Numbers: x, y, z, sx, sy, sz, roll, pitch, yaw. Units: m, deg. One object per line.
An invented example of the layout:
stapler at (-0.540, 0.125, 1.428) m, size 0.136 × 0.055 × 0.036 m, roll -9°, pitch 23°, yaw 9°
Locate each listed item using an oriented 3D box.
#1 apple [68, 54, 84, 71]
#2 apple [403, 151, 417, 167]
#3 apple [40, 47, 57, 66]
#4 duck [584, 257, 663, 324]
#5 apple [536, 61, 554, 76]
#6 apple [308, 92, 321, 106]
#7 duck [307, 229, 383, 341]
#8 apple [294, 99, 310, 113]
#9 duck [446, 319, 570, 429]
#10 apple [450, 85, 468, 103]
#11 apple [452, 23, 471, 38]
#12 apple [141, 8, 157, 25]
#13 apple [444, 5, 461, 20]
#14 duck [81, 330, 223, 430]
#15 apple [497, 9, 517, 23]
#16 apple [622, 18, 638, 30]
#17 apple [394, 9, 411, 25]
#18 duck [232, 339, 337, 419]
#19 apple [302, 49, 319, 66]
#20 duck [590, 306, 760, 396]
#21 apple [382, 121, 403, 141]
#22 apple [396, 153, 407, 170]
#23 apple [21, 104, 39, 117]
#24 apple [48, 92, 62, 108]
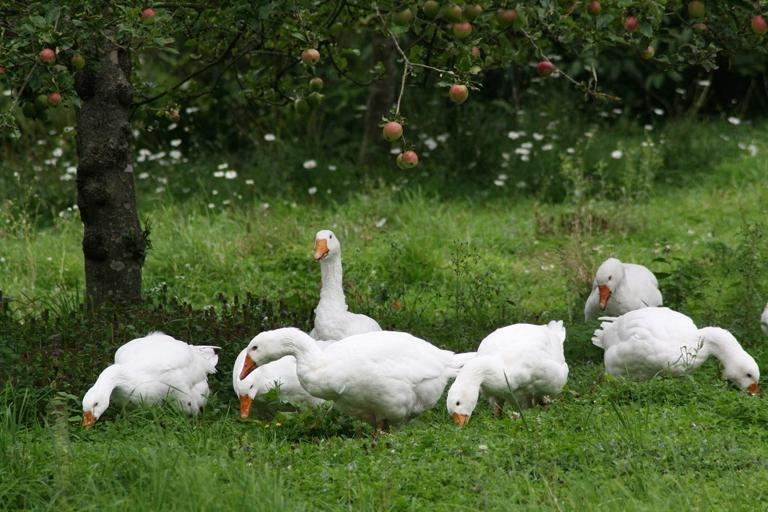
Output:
apple at (-2.830, -1.779, 10.702) m, size 0.125 × 0.171 × 0.137 m, roll -2°, pitch 37°, yaw -11°
apple at (0.228, -0.881, 10.411) m, size 0.125 × 0.168 × 0.135 m, roll -7°, pitch -14°, yaw -2°
apple at (-3.043, -1.800, 10.463) m, size 0.132 × 0.144 × 0.273 m, roll 1°, pitch 8°, yaw -14°
duck at (2.633, 0.334, 13.023) m, size 0.550 × 0.653 × 0.894 m, roll -1°, pitch 36°, yaw 36°
apple at (1.482, -1.723, 10.694) m, size 0.108 × 0.134 × 0.148 m, roll -9°, pitch 6°, yaw 5°
apple at (-0.666, -1.509, 11.115) m, size 0.114 × 0.102 × 0.097 m, roll 7°, pitch -11°, yaw 7°
duck at (-0.473, 0.340, 12.539) m, size 0.713 × 1.154 × 0.616 m, roll 5°, pitch 7°, yaw 21°
apple at (-0.783, -1.434, 11.121) m, size 0.126 × 0.171 × 0.127 m, roll 0°, pitch -1°, yaw -37°
duck at (1.283, 1.200, 11.555) m, size 0.639 × 0.630 × 1.520 m, roll -10°, pitch 27°, yaw 38°
apple at (0.656, -1.444, 10.336) m, size 0.142 × 0.227 × 0.159 m, roll 2°, pitch -34°, yaw 7°
apple at (0.667, -1.957, 10.102) m, size 0.116 × 0.133 × 0.126 m, roll -2°, pitch 11°, yaw -13°
apple at (-2.217, -2.243, 10.871) m, size 0.115 × 0.133 × 0.209 m, roll 0°, pitch 8°, yaw -18°
apple at (0.580, -2.096, 9.982) m, size 0.112 × 0.128 × 0.121 m, roll 15°, pitch 32°, yaw 23°
duck at (-2.332, 1.222, 11.551) m, size 0.565 × 0.631 × 1.390 m, roll 9°, pitch 28°, yaw 30°
apple at (1.061, -2.089, 10.099) m, size 0.119 × 0.161 × 0.123 m, roll 1°, pitch 10°, yaw 4°
apple at (2.201, -2.087, 10.441) m, size 0.094 × 0.146 × 0.098 m, roll 18°, pitch -25°, yaw -24°
apple at (0.169, -2.133, 10.425) m, size 0.121 × 0.141 × 0.131 m, roll -4°, pitch 16°, yaw 1°
duck at (-1.235, 1.127, 12.113) m, size 0.502 × 0.723 × 1.532 m, roll 4°, pitch 7°, yaw 9°
apple at (-0.661, -1.789, 10.526) m, size 0.130 × 0.142 × 0.131 m, roll 1°, pitch 30°, yaw -43°
duck at (2.980, 0.922, 11.877) m, size 1.427 × 0.715 × 0.758 m, roll 23°, pitch 31°, yaw 34°
apple at (0.068, -1.093, 10.331) m, size 0.152 × 0.208 × 0.164 m, roll 0°, pitch -1°, yaw 2°
apple at (0.161, -0.850, 10.397) m, size 0.106 × 0.129 × 0.138 m, roll 11°, pitch 12°, yaw -6°
apple at (-3.245, -1.335, 10.646) m, size 0.127 × 0.142 × 0.172 m, roll 0°, pitch 7°, yaw -16°
apple at (-2.973, -1.408, 10.456) m, size 0.077 × 0.095 × 0.078 m, roll 41°, pitch 64°, yaw 16°
